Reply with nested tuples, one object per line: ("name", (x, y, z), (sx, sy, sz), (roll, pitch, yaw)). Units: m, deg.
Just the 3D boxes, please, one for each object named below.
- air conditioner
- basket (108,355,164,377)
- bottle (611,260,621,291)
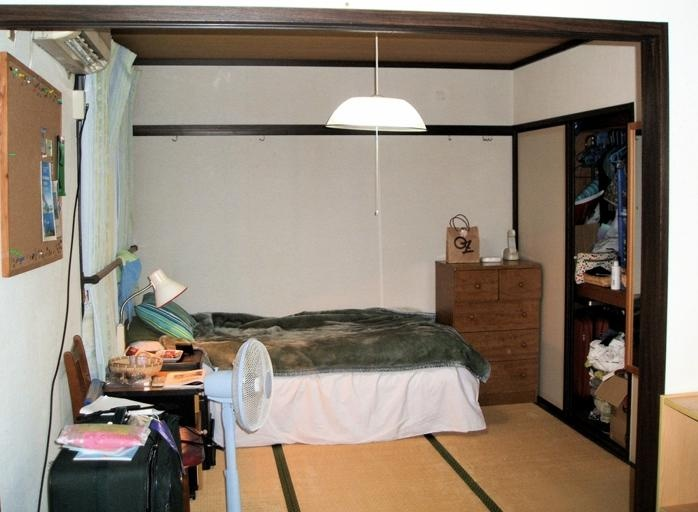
("air conditioner", (-1.500, -1.149, 3.077), (0.276, 0.247, 0.717), (-2, 10, -13))
("basket", (-1.311, 0.670, 3.464), (0.169, 0.070, 0.175), (-4, 0, -1))
("bottle", (2.134, 0.167, 4.528), (0.074, 0.215, 0.076), (0, 10, 0))
